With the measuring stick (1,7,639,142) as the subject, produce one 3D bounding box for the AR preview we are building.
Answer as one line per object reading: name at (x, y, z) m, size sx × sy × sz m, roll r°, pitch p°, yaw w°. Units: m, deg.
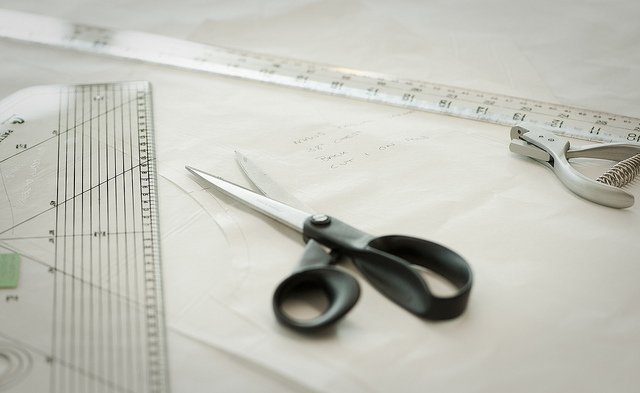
measuring stick at (0.034, -0.463, 2.269) m, size 3.195 × 0.063 × 0.200 m, roll 9°, pitch 38°, yaw -3°
